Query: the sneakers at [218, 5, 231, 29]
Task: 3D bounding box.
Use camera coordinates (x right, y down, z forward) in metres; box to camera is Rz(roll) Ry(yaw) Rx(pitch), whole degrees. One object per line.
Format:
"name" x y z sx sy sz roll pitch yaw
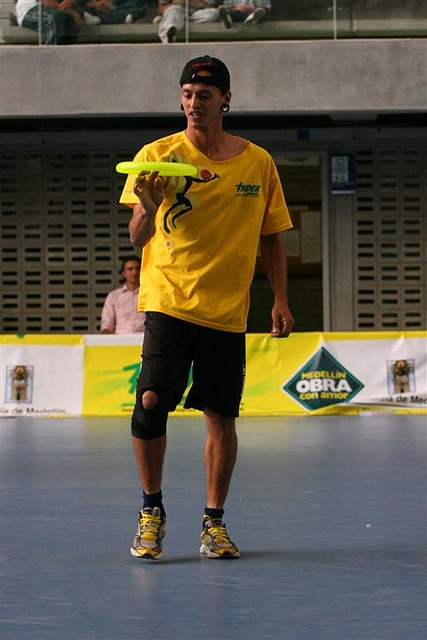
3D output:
"sneakers" 0.118 -2.694 13.692 0.076 0.217 0.089 -14 -4 -6

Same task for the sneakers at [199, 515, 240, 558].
"sneakers" 0.037 1.035 7.324 0.193 0.181 0.215 2 -1 -1

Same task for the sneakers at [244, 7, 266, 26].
"sneakers" 0.392 -2.696 13.698 0.239 0.097 0.103 -36 -4 5

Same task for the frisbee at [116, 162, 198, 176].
"frisbee" -0.256 -0.708 7.150 0.383 0.072 0.252 3 -1 -4

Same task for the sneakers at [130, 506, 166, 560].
"sneakers" -0.311 1.008 7.266 0.160 0.221 0.189 2 -1 -3

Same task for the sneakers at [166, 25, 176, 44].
"sneakers" -0.370 -2.533 13.613 0.055 0.171 0.070 5 10 -7

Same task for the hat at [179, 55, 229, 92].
"hat" -0.035 -1.177 7.347 0.205 0.130 0.155 1 7 -33

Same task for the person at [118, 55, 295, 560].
"person" -0.021 -0.062 7.374 0.864 2.161 0.501 2 -1 -14
